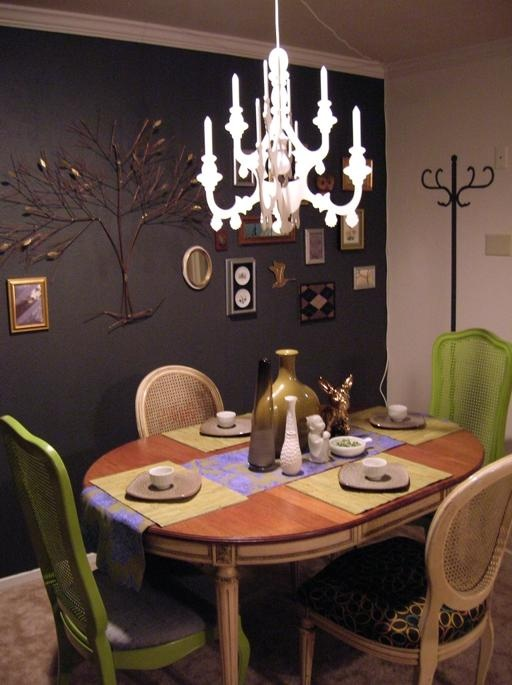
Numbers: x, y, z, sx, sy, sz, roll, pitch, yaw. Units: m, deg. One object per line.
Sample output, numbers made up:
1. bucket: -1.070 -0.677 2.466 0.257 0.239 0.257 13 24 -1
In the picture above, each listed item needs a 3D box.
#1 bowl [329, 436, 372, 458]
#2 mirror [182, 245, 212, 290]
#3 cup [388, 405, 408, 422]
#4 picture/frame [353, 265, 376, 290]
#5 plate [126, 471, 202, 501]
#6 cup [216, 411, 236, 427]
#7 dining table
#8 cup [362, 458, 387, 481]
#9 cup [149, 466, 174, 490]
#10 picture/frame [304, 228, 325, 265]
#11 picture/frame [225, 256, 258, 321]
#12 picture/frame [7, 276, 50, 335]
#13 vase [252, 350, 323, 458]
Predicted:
1. bowl: 0.303 0.321 1.858 0.069 0.026 0.120 1 3 34
2. mirror: -0.315 -0.392 2.995 0.030 0.227 0.205 4 13 37
3. cup: 0.536 0.262 2.188 0.060 0.046 0.067 0 2 3
4. picture/frame: 0.697 -0.428 3.787 0.152 0.128 0.016 -12 15 -41
5. plate: -0.247 0.389 1.553 0.094 0.020 0.095 2 14 14
6. cup: -0.117 0.278 2.154 0.058 0.039 0.058 -1 20 0
7. dining table: -0.068 0.412 1.512 0.681 0.348 0.947 7 12 40
8. cup: 0.320 0.340 1.572 0.058 0.043 0.053 -1 15 0
9. cup: -0.256 0.360 1.571 0.056 0.039 0.058 -2 17 1
10. picture/frame: 0.344 -0.586 3.502 0.019 0.255 0.198 7 13 40
11. picture/frame: -0.092 -0.308 3.189 0.045 0.429 0.311 6 10 37
12. picture/frame: -0.986 -0.164 2.481 0.030 0.298 0.216 7 12 36
13. vase: 0.100 0.186 1.877 0.224 0.325 0.205 -8 16 -25
